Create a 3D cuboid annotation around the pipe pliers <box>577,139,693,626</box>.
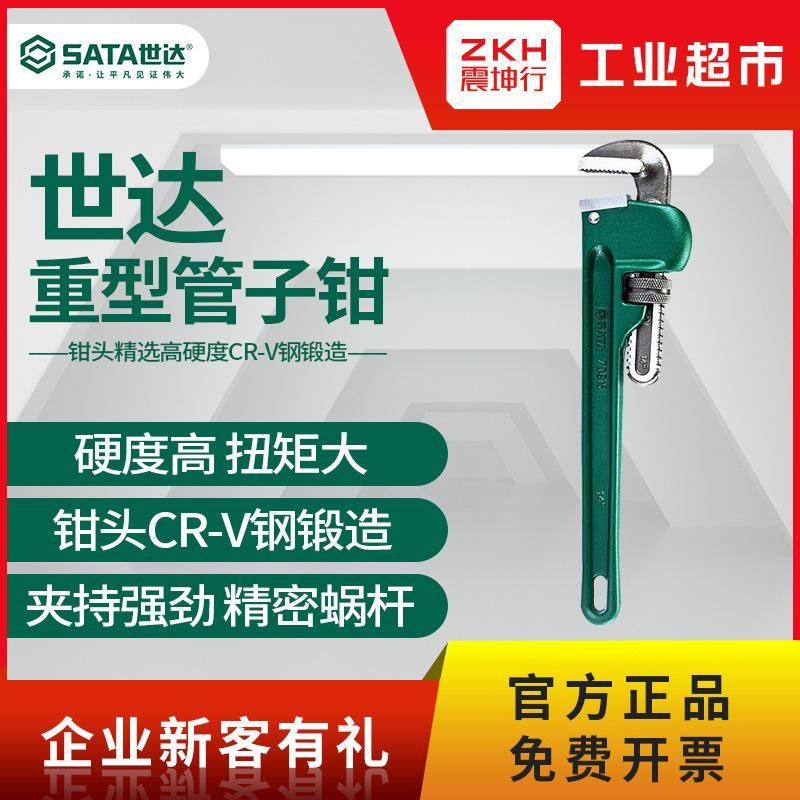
[{"bbox_3d":[0.412,0.018,2.286,0.181,0.783,0.346,5,-15,-8],"label":"pipe pliers"}]
